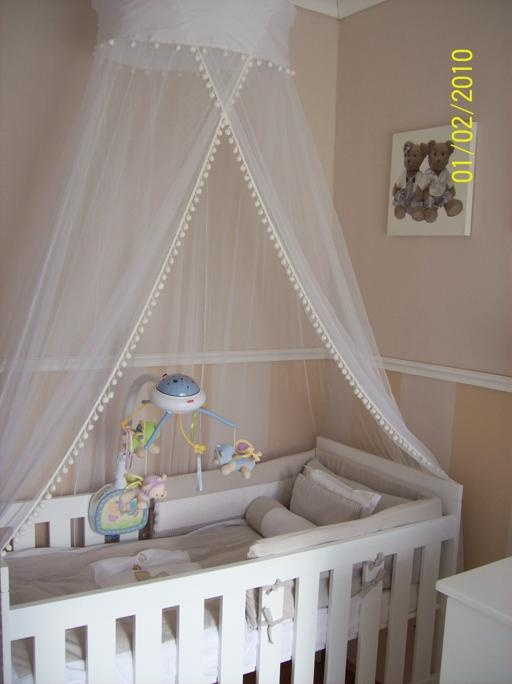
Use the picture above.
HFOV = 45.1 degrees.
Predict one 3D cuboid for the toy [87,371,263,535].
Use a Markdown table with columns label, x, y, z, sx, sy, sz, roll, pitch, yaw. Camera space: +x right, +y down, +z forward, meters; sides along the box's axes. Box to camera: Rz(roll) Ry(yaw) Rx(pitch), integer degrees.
| label | x | y | z | sx | sy | sz | roll | pitch | yaw |
| --- | --- | --- | --- | --- | --- | --- | --- | --- | --- |
| toy | -0.300 | 0.411 | 2.163 | 0.465 | 0.563 | 0.362 | -12 | 28 | -43 |
